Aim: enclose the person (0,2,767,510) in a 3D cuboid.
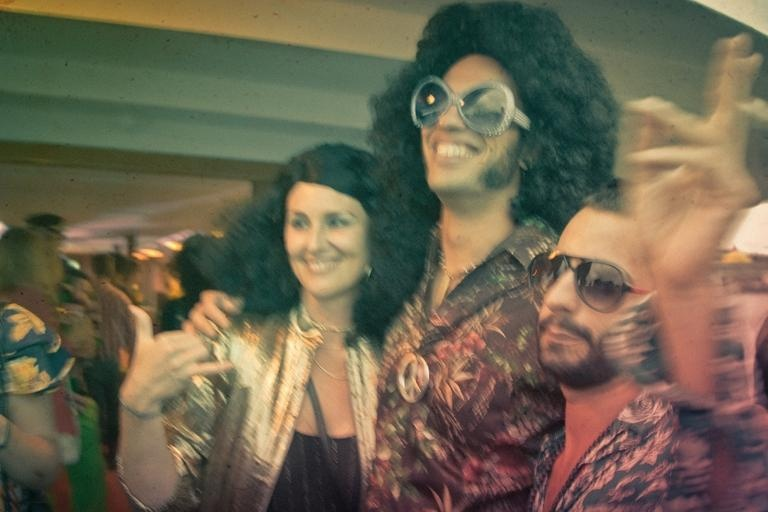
[{"bbox_3d":[0.097,-0.059,3.984,1.554,1.974,0.928,6,-3,13],"label":"person"}]
